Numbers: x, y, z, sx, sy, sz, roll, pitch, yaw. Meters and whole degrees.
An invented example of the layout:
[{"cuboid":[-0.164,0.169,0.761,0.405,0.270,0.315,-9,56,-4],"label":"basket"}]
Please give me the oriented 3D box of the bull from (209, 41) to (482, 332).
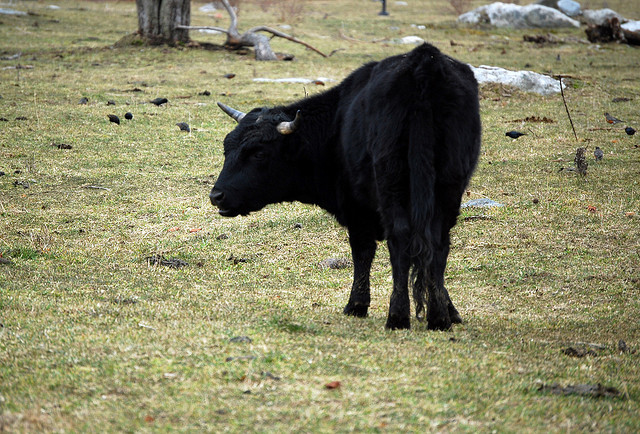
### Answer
[{"cuboid":[0.508,-0.371,21.721,5.187,5.942,10.512,-2,28,0],"label":"bull"}]
